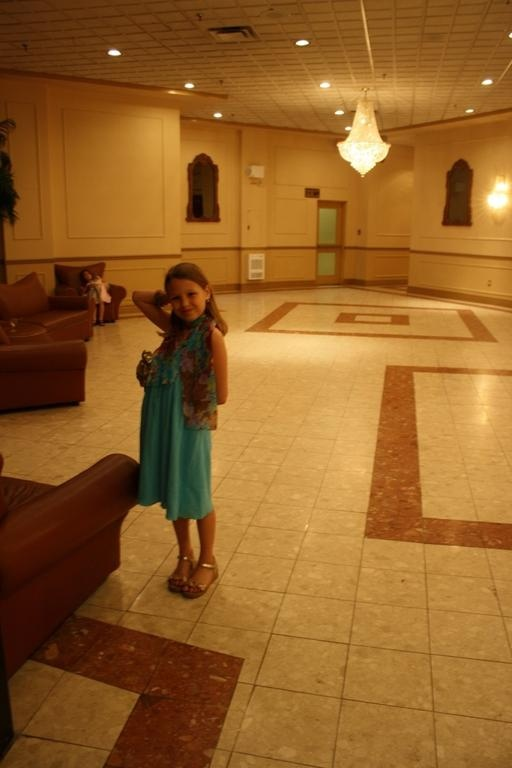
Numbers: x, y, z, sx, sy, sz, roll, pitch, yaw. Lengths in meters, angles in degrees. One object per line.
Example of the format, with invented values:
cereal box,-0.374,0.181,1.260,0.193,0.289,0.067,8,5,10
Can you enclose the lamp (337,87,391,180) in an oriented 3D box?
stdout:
lamp,1.703,-3.893,8.413,0.710,1.317,0.747,5,5,26

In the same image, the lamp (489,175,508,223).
lamp,4.982,-3.822,11.108,0.207,0.844,0.547,-3,10,-28

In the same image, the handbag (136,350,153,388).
handbag,-0.381,-0.043,1.910,0.048,0.142,0.101,6,0,-20

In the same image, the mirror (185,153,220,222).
mirror,-1.225,-4.588,12.752,0.861,1.553,0.178,-5,11,-38

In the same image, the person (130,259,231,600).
person,-0.279,0.204,1.970,0.314,1.263,0.325,-1,9,-13

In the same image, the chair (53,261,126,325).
chair,-2.783,-1.625,9.335,1.166,1.231,1.023,-9,18,-41

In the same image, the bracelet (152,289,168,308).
bracelet,-0.344,-0.309,1.946,0.041,0.054,0.056,0,5,-14
